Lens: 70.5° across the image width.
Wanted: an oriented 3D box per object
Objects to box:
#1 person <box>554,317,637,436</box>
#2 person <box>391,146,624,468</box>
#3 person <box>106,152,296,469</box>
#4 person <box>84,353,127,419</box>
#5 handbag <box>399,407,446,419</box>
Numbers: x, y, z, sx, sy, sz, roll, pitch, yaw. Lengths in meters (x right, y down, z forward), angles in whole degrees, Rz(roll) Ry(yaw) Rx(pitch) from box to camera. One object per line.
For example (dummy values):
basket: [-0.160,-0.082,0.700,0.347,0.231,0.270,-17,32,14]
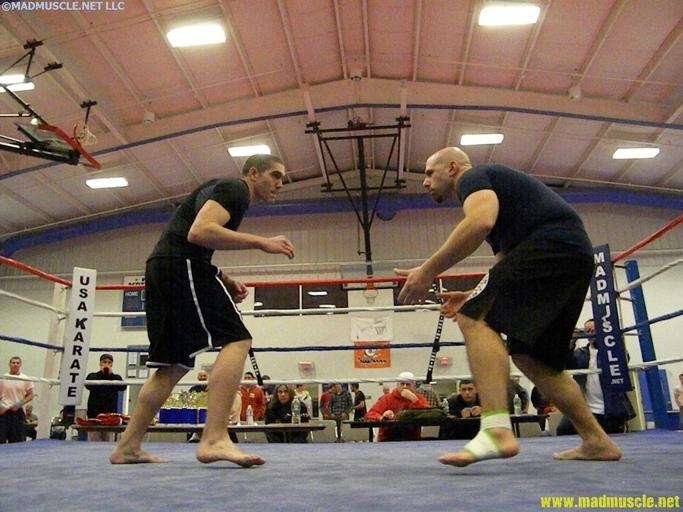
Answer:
person: [2.234,1.089,4.259,0.783,0.854,0.710,5,-12,-13]
person: [0.642,0.186,1.765,0.735,1.077,0.470,14,-24,-35]
person: [-0.565,0.245,2.005,0.449,1.177,0.674,16,-25,-35]
person: [-2.703,1.621,5.503,0.419,0.908,0.308,8,10,-19]
handbag: [0.668,1.296,3.988,0.250,0.043,0.142,0,-7,-6]
